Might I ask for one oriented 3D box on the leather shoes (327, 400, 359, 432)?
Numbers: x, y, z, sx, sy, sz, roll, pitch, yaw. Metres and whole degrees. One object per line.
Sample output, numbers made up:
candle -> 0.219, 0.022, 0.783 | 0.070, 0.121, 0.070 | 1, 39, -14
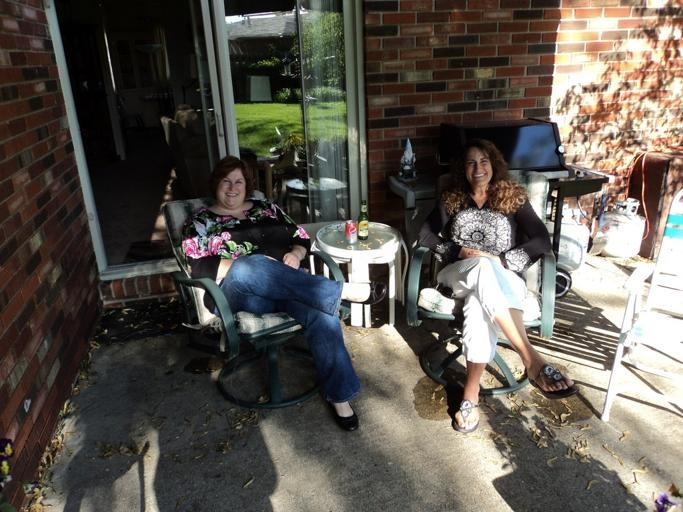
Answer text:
leather shoes -> 0.012, 0.943, 2.842 | 0.166, 0.123, 0.251 | -7, 22, -9

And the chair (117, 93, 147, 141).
chair -> -5.339, -3.659, 12.001 | 0.511, 0.986, 1.425 | -12, 24, -19

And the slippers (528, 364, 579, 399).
slippers -> 1.173, 0.704, 2.646 | 0.139, 0.095, 0.269 | -32, 25, -8

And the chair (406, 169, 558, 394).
chair -> 0.916, 0.211, 3.154 | 1.102, 1.149, 0.928 | -4, 21, -1

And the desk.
desk -> 1.344, -0.514, 3.928 | 1.741, 1.003, 0.778 | -3, 30, -1

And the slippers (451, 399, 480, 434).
slippers -> 0.728, 0.948, 2.727 | 0.118, 0.086, 0.220 | 5, 20, 22

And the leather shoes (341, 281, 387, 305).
leather shoes -> 0.107, 0.292, 3.695 | 0.128, 0.142, 0.504 | -8, 8, -41
